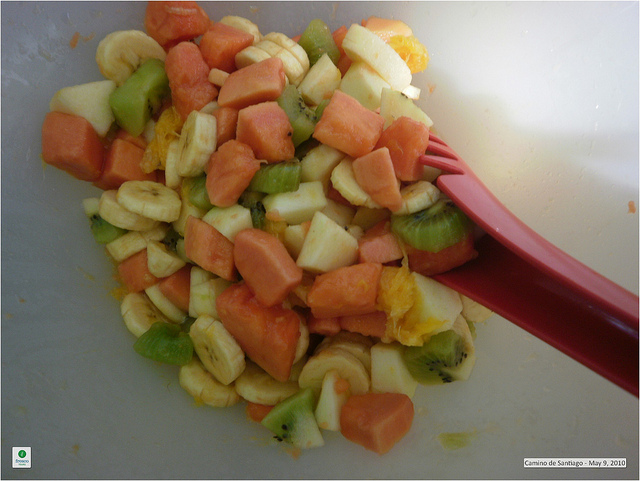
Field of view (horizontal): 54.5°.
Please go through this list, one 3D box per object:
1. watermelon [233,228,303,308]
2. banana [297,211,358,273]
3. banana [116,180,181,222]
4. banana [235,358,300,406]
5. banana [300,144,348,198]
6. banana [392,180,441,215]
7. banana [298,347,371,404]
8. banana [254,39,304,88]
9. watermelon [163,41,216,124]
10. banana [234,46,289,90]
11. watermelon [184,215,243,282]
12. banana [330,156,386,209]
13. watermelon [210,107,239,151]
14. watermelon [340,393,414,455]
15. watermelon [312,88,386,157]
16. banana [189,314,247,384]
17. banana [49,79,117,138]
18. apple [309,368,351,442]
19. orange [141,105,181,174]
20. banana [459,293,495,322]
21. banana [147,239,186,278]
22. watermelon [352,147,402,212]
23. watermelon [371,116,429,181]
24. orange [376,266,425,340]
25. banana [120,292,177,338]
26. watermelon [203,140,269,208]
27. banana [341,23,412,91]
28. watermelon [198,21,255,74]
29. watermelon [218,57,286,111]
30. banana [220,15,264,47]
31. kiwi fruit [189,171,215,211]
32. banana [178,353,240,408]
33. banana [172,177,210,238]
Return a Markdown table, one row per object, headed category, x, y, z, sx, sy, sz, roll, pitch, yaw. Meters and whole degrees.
| category | x | y | z | sx | sy | sz | roll | pitch | yaw |
| --- | --- | --- | --- | --- | --- | --- | --- | --- | --- |
| watermelon | -0.187 | 0.107 | 2.409 | 0.305 | 0.217 | 0.078 | 55 | 23 | 2 |
| banana | 0.081 | 0.029 | 2.491 | 0.234 | 0.127 | 0.239 | 54 | 17 | 1 |
| banana | -0.702 | -0.169 | 2.566 | 0.251 | 0.101 | 0.177 | 11 | 55 | -6 |
| banana | -0.236 | 0.600 | 2.582 | 0.183 | 0.048 | 0.184 | 33 | 38 | 1 |
| banana | 0.069 | -0.296 | 2.581 | 0.170 | 0.130 | 0.191 | -18 | 14 | -20 |
| banana | 0.390 | -0.173 | 2.438 | 0.045 | 0.138 | 0.143 | 58 | 39 | -19 |
| banana | 0.063 | 0.533 | 2.596 | 0.224 | 0.253 | 0.066 | 17 | 7 | 8 |
| banana | -0.224 | -0.760 | 2.635 | 0.198 | 0.190 | 0.122 | 24 | 65 | -57 |
| watermelon | -0.533 | -0.657 | 2.546 | 0.163 | 0.224 | 0.229 | -21 | 62 | -24 |
| banana | -0.273 | -0.749 | 2.552 | 0.184 | 0.198 | 0.052 | 23 | 36 | 27 |
| watermelon | -0.435 | 0.029 | 2.443 | 0.243 | 0.168 | 0.135 | 21 | 53 | 2 |
| banana | 0.142 | -0.208 | 2.464 | 0.176 | 0.050 | 0.202 | 27 | 43 | -23 |
| watermelon | -0.378 | -0.442 | 2.462 | 0.143 | 0.186 | 0.093 | -4 | 0 | 24 |
| watermelon | 0.225 | 0.703 | 2.472 | 0.226 | 0.263 | 0.095 | 17 | 13 | 0 |
| watermelon | 0.114 | -0.445 | 2.433 | 0.242 | 0.123 | 0.187 | 24 | 55 | 3 |
| banana | -0.426 | 0.439 | 2.555 | 0.272 | 0.218 | 0.127 | 40 | 57 | 16 |
| banana | -1.015 | -0.560 | 2.597 | 0.221 | 0.076 | 0.263 | 24 | 32 | 28 |
| apple | 0.054 | 0.656 | 2.579 | 0.168 | 0.263 | 0.094 | 19 | 15 | 27 |
| orange | -0.670 | -0.428 | 2.644 | 0.064 | 0.302 | 0.145 | 23 | -1 | 35 |
| banana | 0.662 | 0.301 | 2.677 | 0.123 | 0.121 | 0.036 | 35 | 44 | -26 |
| banana | -0.645 | 0.066 | 2.596 | 0.153 | 0.111 | 0.125 | -10 | 58 | -18 |
| watermelon | 0.225 | -0.241 | 2.400 | 0.179 | 0.293 | 0.094 | 4 | 30 | 29 |
| watermelon | 0.336 | -0.381 | 2.494 | 0.229 | 0.229 | 0.205 | 30 | 17 | 38 |
| orange | 0.317 | 0.237 | 2.487 | 0.162 | 0.300 | 0.076 | 0 | 13 | 5 |
| banana | -0.742 | 0.306 | 2.685 | 0.205 | 0.054 | 0.190 | 54 | 24 | 13 |
| watermelon | -0.343 | -0.265 | 2.427 | 0.200 | 0.171 | 0.191 | 6 | 55 | -8 |
| banana | 0.240 | -0.757 | 2.610 | 0.314 | 0.195 | 0.101 | 19 | 53 | 1 |
| watermelon | -0.410 | -0.771 | 2.598 | 0.179 | 0.176 | 0.181 | -11 | 84 | -34 |
| watermelon | -0.267 | -0.612 | 2.488 | 0.248 | 0.105 | 0.175 | -7 | 73 | 21 |
| banana | -0.324 | -0.915 | 2.655 | 0.157 | 0.085 | 0.168 | 29 | 26 | -7 |
| kiwi fruit | -0.494 | -0.195 | 2.523 | 0.067 | 0.128 | 0.134 | 0 | 59 | -37 |
| banana | -0.471 | 0.601 | 2.579 | 0.221 | 0.059 | 0.222 | 38 | 25 | -22 |
| banana | -0.561 | -0.123 | 2.578 | 0.052 | 0.209 | 0.198 | -3 | 45 | -38 |
